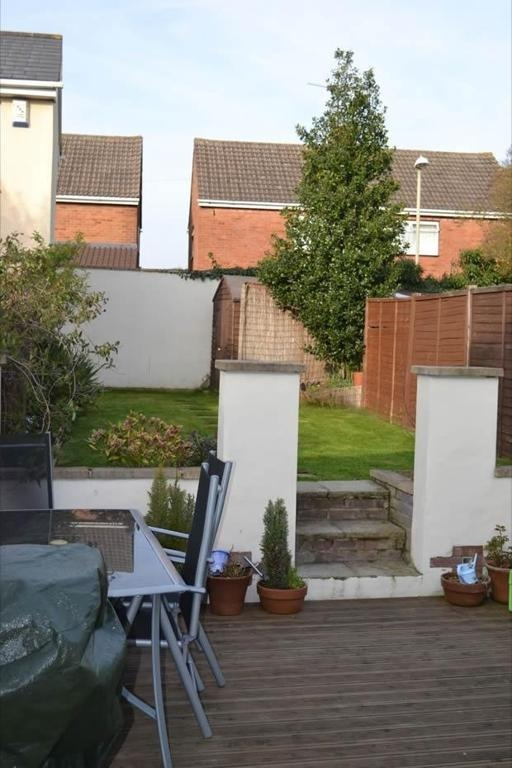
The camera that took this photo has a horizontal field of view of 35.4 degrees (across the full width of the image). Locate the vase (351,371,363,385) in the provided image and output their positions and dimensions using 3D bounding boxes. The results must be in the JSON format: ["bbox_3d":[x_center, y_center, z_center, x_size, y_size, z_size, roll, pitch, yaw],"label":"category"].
[{"bbox_3d":[1.561,-0.079,12.583,0.162,0.135,0.169,1,1,-9],"label":"vase"}]

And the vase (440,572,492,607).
[{"bbox_3d":[1.363,1.346,5.264,0.327,0.168,0.321,5,6,10],"label":"vase"}]

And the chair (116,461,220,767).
[{"bbox_3d":[-0.375,0.949,3.536,0.472,1.103,1.087,3,6,-2],"label":"chair"}]

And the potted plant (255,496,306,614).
[{"bbox_3d":[0.147,1.063,4.967,0.344,0.682,0.286,5,6,21],"label":"potted plant"}]

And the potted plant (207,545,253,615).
[{"bbox_3d":[-0.170,1.208,4.950,0.296,0.376,0.352,4,-2,14],"label":"potted plant"}]
